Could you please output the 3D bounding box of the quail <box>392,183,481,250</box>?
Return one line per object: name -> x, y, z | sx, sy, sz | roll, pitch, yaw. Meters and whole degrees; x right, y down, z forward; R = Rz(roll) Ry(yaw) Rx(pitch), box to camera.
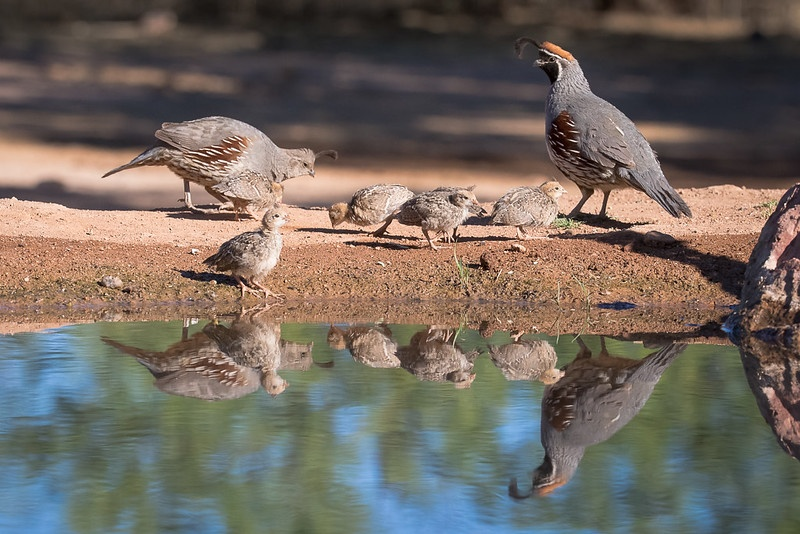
quail -> 0.684, -0.799, 20.406 | 1.370, 1.079, 0.788 | -2, 24, -4
